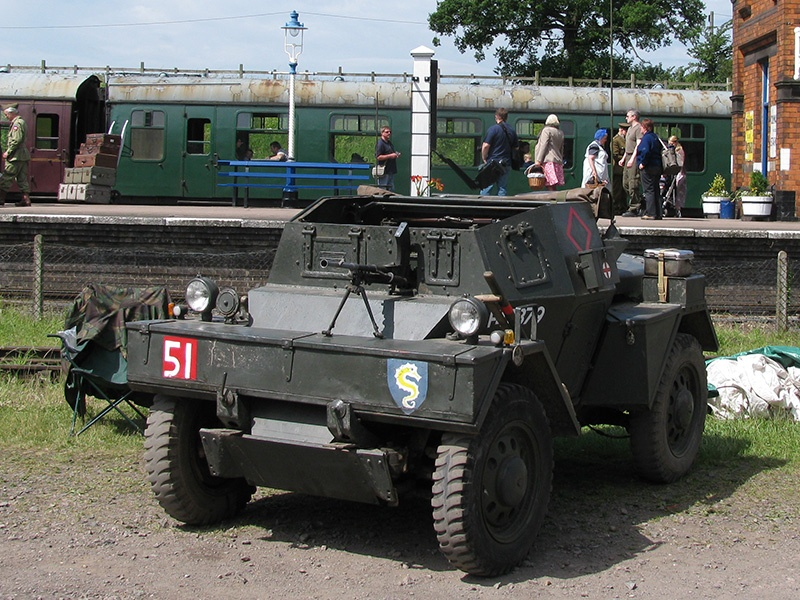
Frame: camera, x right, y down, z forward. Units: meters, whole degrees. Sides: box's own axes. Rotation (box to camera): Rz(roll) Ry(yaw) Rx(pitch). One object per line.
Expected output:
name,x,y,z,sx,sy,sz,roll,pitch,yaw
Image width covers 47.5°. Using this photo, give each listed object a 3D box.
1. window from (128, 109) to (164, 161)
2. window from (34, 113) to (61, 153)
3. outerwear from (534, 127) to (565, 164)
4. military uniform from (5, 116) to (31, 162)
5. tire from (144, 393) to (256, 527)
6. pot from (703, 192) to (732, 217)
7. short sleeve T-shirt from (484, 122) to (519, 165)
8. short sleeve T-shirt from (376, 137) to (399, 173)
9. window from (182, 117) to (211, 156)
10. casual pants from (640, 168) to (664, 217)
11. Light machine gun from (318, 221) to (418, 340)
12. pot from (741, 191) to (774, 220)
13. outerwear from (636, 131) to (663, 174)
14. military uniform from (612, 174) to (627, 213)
window,-6.484,-4.215,23.441,0.924,1.470,0.112,-6,39,-26
window,-9.216,-4.220,23.612,0.545,1.211,0.078,6,9,5
outerwear,2.694,-2.786,16.417,0.368,0.673,0.866,8,13,34
military uniform,-7.895,-3.295,18.719,0.454,0.915,0.463,-5,12,-27
tire,-1.484,1.197,6.961,0.283,1.185,0.879,-7,-8,37
pot,7.839,-2.348,22.578,0.479,0.452,0.532,-1,4,-12
short sleeve T-shirt,1.808,-2.765,16.100,0.587,0.798,0.414,-1,6,-19
short sleeve T-shirt,-0.272,-3.108,19.680,0.433,0.789,0.872,0,11,-2
window,-5.204,-4.189,23.345,0.768,1.696,0.147,0,-3,-1
casual pants,5.128,-2.236,18.378,0.385,1.128,0.303,-1,-2,-27
Light machine gun,-0.248,-0.191,6.760,0.517,0.980,0.526,6,9,38
pot,8.613,-2.245,21.879,0.515,0.543,0.642,0,0,6
outerwear,4.969,-2.857,18.020,0.487,0.921,0.922,2,1,28
military uniform,4.879,-2.466,20.193,0.188,0.760,0.278,1,5,-12
